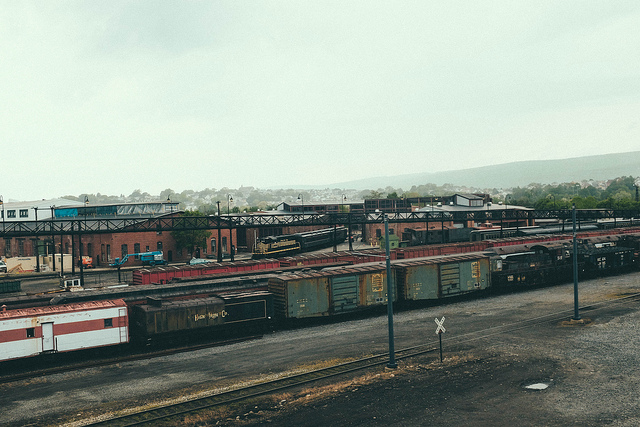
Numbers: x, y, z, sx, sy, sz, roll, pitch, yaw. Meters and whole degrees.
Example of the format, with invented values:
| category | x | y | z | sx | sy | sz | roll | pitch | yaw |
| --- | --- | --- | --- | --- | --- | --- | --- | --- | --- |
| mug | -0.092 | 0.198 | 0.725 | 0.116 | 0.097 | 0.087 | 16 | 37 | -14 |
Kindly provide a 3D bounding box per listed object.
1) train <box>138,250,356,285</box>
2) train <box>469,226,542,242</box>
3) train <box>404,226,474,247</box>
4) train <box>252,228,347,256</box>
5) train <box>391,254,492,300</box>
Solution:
| category | x | y | z | sx | sy | sz | roll | pitch | yaw |
| --- | --- | --- | --- | --- | --- | --- | --- | --- | --- |
| train | -8.577 | 6.526 | 96.834 | 18.932 | 2.060 | 2.365 | -4 | 5 | -31 |
| train | 26.885 | 3.123 | 116.797 | 10.040 | 2.228 | 1.507 | -4 | -2 | -23 |
| train | 18.559 | 3.420 | 120.636 | 13.944 | 4.467 | 3.423 | -2 | -2 | -31 |
| train | -2.309 | 4.612 | 133.954 | 3.386 | 3.628 | 25.170 | 4 | 8 | 36 |
| train | 13.630 | 7.323 | 89.320 | 11.637 | 3.925 | 3.774 | -4 | -4 | -20 |
